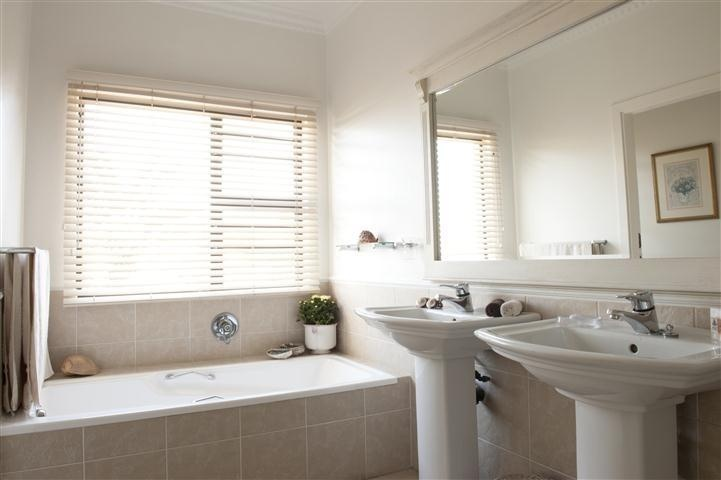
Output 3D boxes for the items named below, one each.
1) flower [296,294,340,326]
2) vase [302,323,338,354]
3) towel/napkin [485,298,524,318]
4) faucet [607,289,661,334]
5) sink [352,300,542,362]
[{"bbox_3d":[-0.370,0.554,4.119,0.316,0.209,0.284,-11,-34,8],"label":"flower"},{"bbox_3d":[-0.315,0.769,4.016,0.244,0.163,0.231,5,-9,-36],"label":"vase"},{"bbox_3d":[0.751,0.359,2.673,0.104,0.052,0.136,2,-8,-37],"label":"towel/napkin"},{"bbox_3d":[1.177,0.315,2.188,0.251,0.182,0.089,-6,6,-12],"label":"faucet"},{"bbox_3d":[0.396,0.522,2.885,0.692,0.251,0.983,2,-3,-31],"label":"sink"}]
